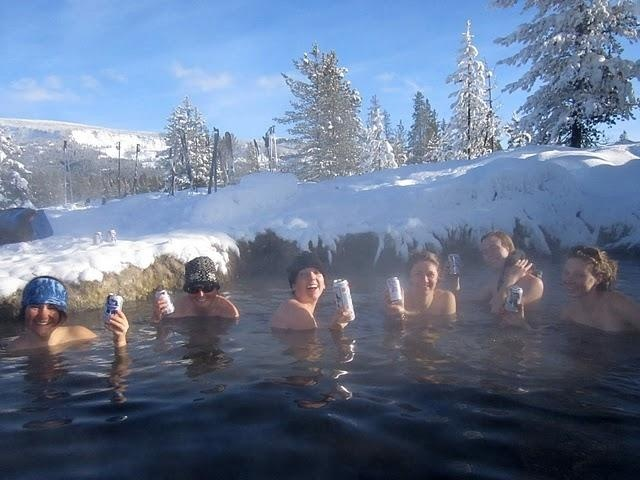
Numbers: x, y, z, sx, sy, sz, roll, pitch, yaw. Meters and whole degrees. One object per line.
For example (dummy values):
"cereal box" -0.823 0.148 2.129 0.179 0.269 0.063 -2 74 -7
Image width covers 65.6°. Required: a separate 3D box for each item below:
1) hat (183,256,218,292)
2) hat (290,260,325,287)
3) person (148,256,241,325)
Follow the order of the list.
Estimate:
"hat" -1.853 0.531 7.715 0.513 0.578 0.241 -7 15 -18
"hat" -0.203 0.486 7.421 0.536 0.468 0.336 -2 14 -1
"person" -1.933 0.859 7.928 1.578 1.209 1.027 1 6 -8
